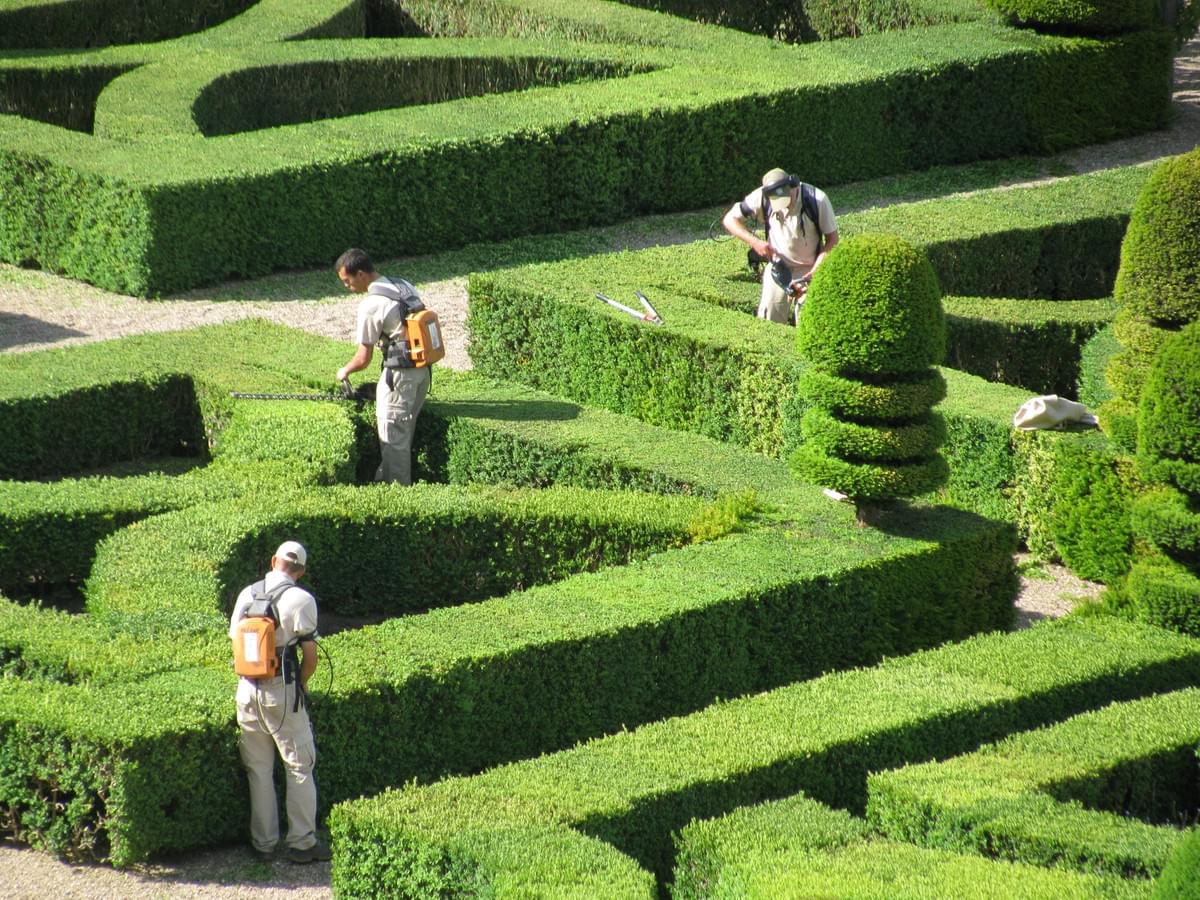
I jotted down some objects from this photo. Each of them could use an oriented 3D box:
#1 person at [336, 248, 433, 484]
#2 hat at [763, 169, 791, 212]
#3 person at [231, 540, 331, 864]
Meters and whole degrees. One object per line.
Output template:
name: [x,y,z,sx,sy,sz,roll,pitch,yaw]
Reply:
person: [-2.467,-0.909,28.655,1.197,2.944,0.933,13,26,29]
hat: [2.124,-3.092,28.904,0.292,0.446,0.445,2,45,11]
person: [-3.099,2.614,23.851,0.872,2.743,0.612,2,13,1]
